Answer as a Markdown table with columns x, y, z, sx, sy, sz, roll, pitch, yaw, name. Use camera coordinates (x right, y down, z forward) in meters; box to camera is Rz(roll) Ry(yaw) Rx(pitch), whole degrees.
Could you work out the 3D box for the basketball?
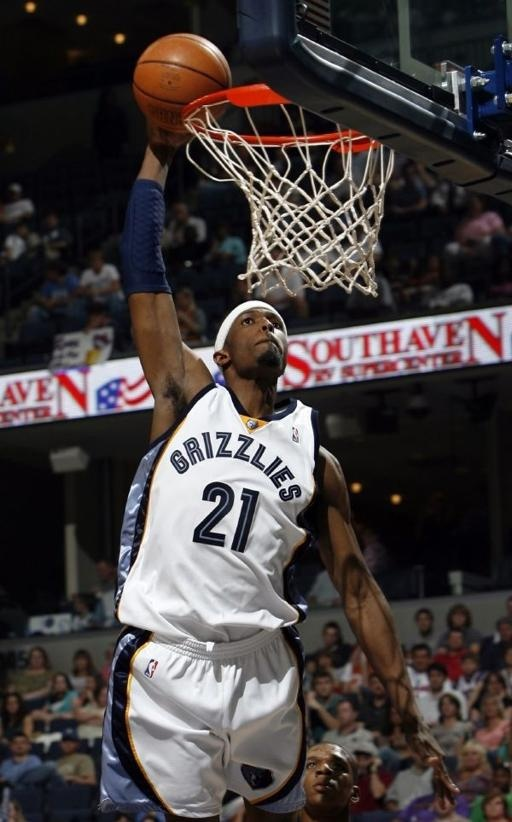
| x | y | z | sx | sy | sz | roll | pitch | yaw | name |
| --- | --- | --- | --- | --- | --- | --- | --- | --- | --- |
| -0.198 | -0.851 | 2.647 | 0.278 | 0.282 | 0.248 | 0 | 38 | -11 | basketball |
